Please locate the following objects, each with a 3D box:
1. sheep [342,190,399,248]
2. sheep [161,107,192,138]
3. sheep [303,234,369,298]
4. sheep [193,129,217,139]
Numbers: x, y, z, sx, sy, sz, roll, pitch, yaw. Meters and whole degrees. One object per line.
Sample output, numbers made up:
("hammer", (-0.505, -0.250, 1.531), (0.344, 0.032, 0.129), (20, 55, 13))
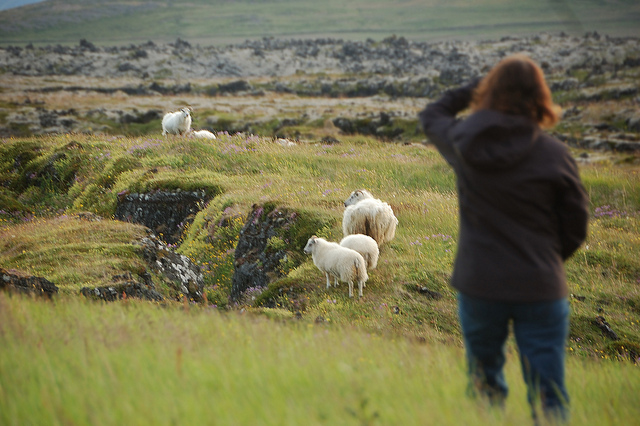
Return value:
("sheep", (1.066, 0.197, 21.103), (1.375, 1.554, 2.282), (-9, 5, -9))
("sheep", (-4.078, -2.551, 22.491), (0.675, 0.793, 1.262), (-1, 0, -37))
("sheep", (0.421, 1.218, 19.048), (0.781, 1.410, 2.074), (-19, 27, -37))
("sheep", (-3.378, -2.303, 22.657), (0.731, 0.401, 0.244), (8, 8, 23))
